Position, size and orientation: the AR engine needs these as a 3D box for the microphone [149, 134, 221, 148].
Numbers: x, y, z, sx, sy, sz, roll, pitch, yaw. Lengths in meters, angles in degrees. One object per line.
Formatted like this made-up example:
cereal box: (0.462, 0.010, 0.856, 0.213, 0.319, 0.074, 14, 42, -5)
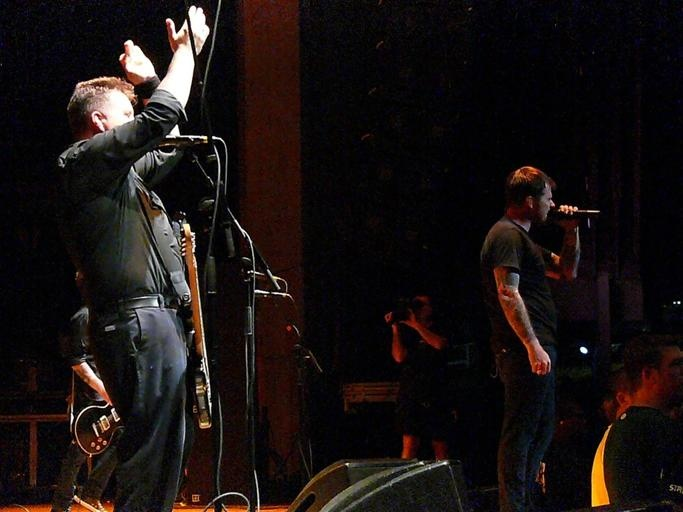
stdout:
microphone: (-0.825, -0.597, 4.198, 0.340, 0.069, 0.084, -9, -13, -17)
